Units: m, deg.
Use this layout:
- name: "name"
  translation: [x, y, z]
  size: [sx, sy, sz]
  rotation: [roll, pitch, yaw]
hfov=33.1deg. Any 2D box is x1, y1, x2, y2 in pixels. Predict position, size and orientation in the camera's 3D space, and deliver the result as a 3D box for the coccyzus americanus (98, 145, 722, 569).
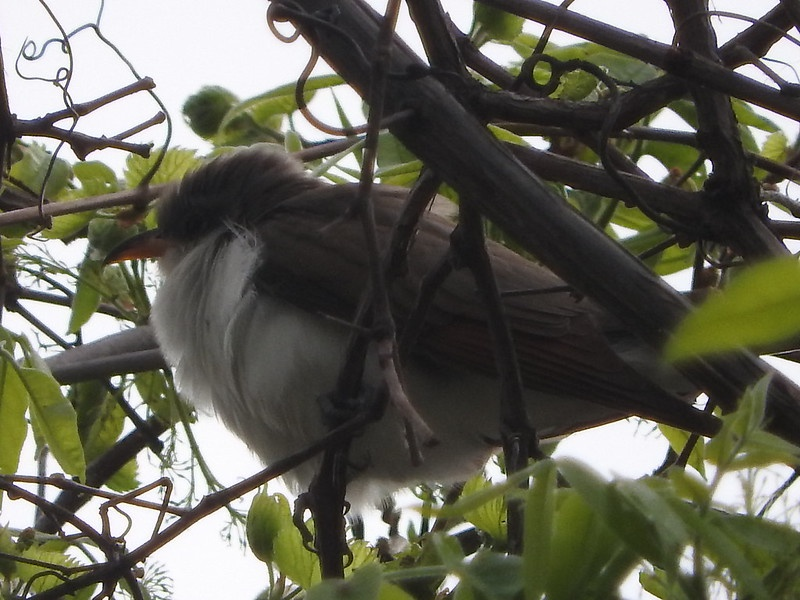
- name: "coccyzus americanus"
  translation: [0.069, 0.035, 3.143]
  size: [1.620, 0.753, 0.563]
  rotation: [2, -22, 2]
